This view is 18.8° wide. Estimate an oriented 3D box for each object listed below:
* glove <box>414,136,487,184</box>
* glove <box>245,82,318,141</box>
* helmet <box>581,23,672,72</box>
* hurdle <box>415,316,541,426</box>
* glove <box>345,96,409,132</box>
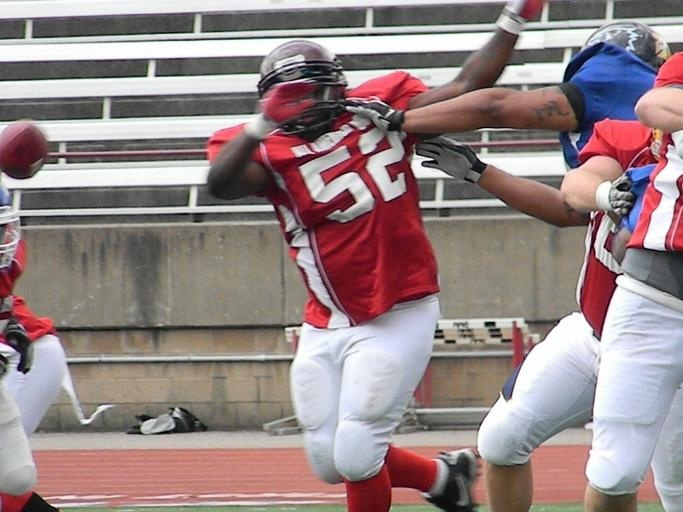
[{"bbox_3d":[0.754,-0.676,14.408,0.372,0.358,0.272,8,14,43],"label":"glove"},{"bbox_3d":[-0.409,-0.997,14.170,0.479,0.407,0.190,1,1,-1],"label":"glove"},{"bbox_3d":[1.950,-1.477,14.359,0.400,0.355,0.457,-39,21,-7],"label":"helmet"},{"bbox_3d":[1.219,0.976,18.009,1.355,0.879,0.916,-1,6,8],"label":"hurdle"},{"bbox_3d":[0.241,-0.986,14.294,0.321,0.242,0.243,9,16,40],"label":"glove"}]
